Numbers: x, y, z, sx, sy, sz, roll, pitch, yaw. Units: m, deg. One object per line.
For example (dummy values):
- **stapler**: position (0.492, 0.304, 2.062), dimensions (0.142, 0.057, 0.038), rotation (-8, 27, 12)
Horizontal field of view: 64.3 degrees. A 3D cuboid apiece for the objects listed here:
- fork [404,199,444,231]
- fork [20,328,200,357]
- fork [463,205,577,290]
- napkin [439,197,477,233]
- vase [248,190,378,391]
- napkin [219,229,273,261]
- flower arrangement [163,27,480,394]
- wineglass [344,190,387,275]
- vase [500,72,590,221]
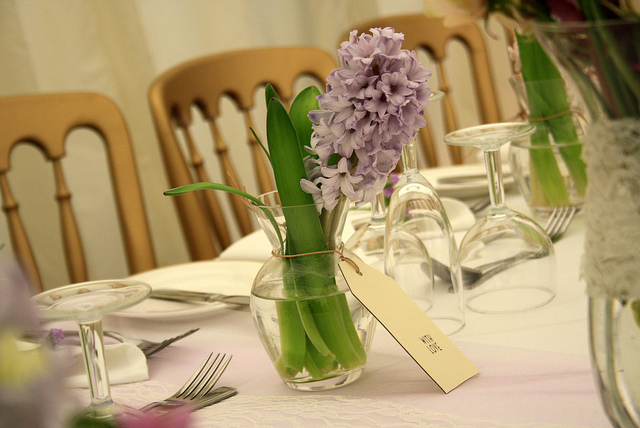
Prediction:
- **fork**: position (0.127, -0.005, 0.638), dimensions (0.036, 0.037, 0.043), rotation (6, 25, 0)
- **fork**: position (-0.267, 0.150, 0.602), dimensions (0.182, 0.028, 0.025), rotation (11, -2, -22)
- **fork**: position (0.245, 0.062, 0.651), dimensions (0.145, 0.022, 0.019), rotation (-35, 4, 26)
- **napkin**: position (0.249, 0.001, 0.906), dimensions (0.048, 0.026, 0.071), rotation (0, 23, 4)
- **vase**: position (-0.009, 0.083, 0.569), dimensions (0.132, 0.213, 0.145), rotation (-5, 2, 40)
- **napkin**: position (-0.128, 0.071, 0.923), dimensions (0.071, 0.031, 0.083), rotation (-16, -12, -5)
- **flower arrangement**: position (0.011, 0.003, 0.498), dimensions (0.243, 0.356, 0.205), rotation (-12, 13, -36)
- **wineglass**: position (0.085, 0.039, 0.841), dimensions (0.094, 0.111, 0.109), rotation (0, 3, 5)
- **vase**: position (0.410, -0.121, 0.907), dimensions (0.152, 0.241, 0.151), rotation (-15, 14, -19)
